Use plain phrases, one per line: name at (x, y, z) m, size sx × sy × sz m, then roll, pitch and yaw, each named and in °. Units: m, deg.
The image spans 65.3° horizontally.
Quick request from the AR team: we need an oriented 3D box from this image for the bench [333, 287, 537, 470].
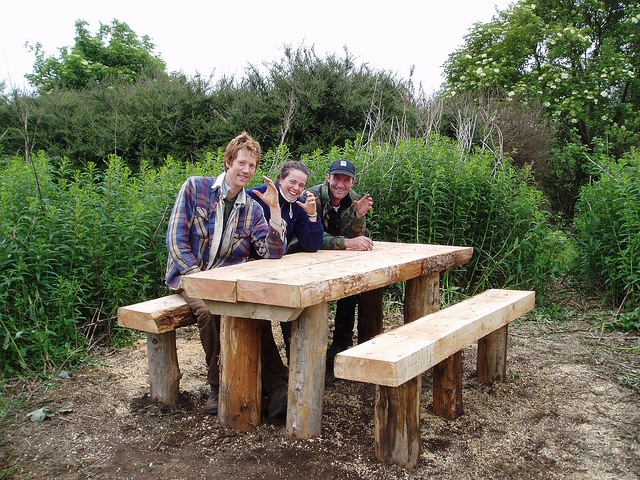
bench at (0.923, 1.064, 3.990) m, size 0.432 × 0.918 × 2.035 m, roll 14°, pitch 18°, yaw 42°
